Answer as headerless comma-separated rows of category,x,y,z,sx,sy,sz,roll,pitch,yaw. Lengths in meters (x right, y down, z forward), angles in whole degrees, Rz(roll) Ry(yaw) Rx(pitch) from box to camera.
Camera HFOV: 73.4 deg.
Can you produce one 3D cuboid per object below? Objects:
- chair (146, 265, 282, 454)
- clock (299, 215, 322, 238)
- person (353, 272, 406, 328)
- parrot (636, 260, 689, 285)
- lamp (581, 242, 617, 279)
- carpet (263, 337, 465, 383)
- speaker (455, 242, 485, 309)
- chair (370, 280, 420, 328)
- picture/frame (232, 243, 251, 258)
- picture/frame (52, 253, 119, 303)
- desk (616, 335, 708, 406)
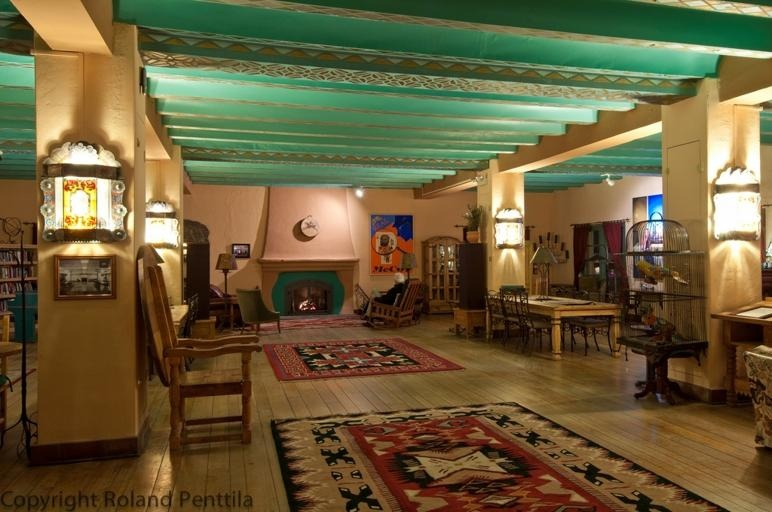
chair,-1.991,1.043,5.649,1.073,1.902,1.036,-2,4,-22
clock,-2.136,-0.829,14.704,0.558,0.648,0.146,-1,4,-11
person,0.019,1.058,12.898,1.234,1.330,0.694,5,-21,-3
parrot,3.539,0.220,6.672,0.643,0.315,0.364,-2,4,-31
lamp,6.387,0.131,15.074,0.953,1.142,1.094,3,-3,-33
carpet,-0.571,1.790,9.235,2.971,0.125,3.028,-1,3,-15
speaker,1.903,0.430,11.341,0.710,1.413,0.620,-3,-8,19
chair,0.221,1.138,12.892,1.184,1.055,1.331,0,1,12
picture/frame,-4.069,-0.154,14.505,0.524,0.351,0.066,0,-1,-22
picture/frame,-2.984,0.213,5.088,0.606,0.414,0.041,0,-1,-16
desk,3.597,1.438,6.701,0.881,0.840,0.581,-1,4,-10
